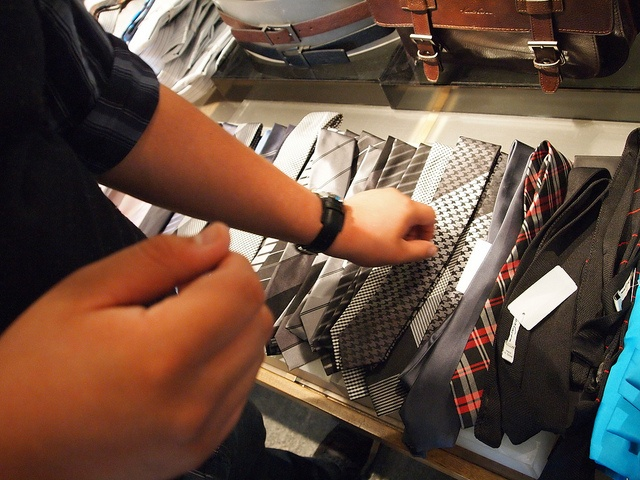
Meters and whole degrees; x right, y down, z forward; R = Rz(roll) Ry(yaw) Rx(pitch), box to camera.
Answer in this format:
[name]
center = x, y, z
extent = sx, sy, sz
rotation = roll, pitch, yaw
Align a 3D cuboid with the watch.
[watch]
center = 0.017, -0.027, 0.822
extent = 0.068, 0.122, 0.109
rotation = -13, 13, -39
